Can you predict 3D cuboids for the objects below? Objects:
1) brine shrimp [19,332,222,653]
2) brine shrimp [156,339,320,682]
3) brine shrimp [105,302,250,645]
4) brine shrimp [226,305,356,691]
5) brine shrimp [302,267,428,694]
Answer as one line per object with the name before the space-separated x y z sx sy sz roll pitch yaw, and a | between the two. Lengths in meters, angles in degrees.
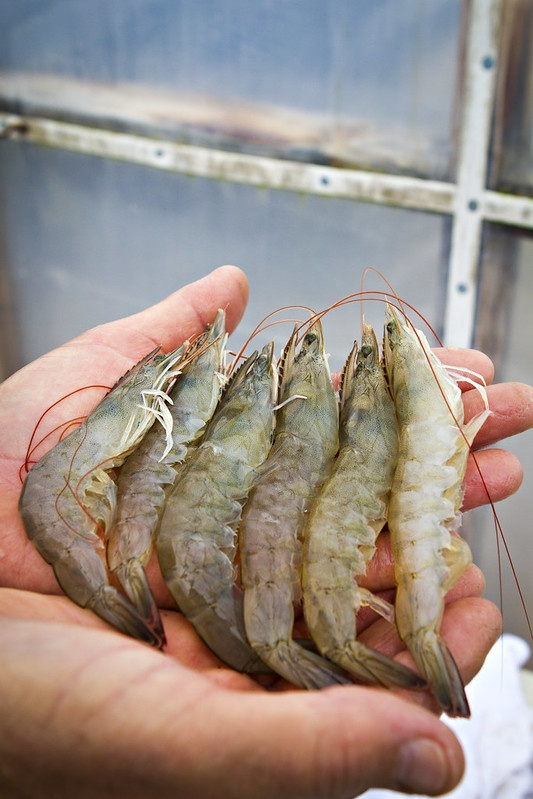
brine shrimp | -0.326 0.148 1.590 0.331 0.672 0.107 4 -38 2
brine shrimp | -0.093 0.178 1.531 0.216 0.595 0.386 3 2 -3
brine shrimp | -0.170 0.087 1.644 0.228 0.811 0.121 -1 -42 26
brine shrimp | 0.075 0.167 1.615 0.254 0.927 0.139 16 -48 -5
brine shrimp | 0.202 0.136 1.538 0.228 0.847 0.113 -3 -28 20
